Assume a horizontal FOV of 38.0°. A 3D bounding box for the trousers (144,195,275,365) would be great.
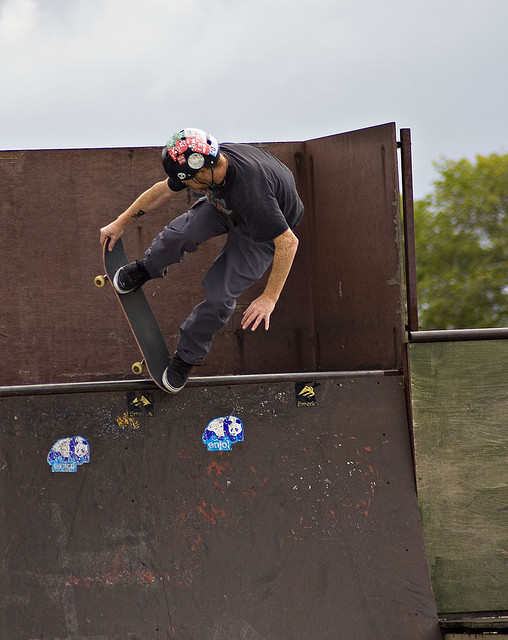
[{"bbox_3d":[-0.228,-0.224,3.884,0.672,0.847,0.433,-7,6,-9],"label":"trousers"}]
